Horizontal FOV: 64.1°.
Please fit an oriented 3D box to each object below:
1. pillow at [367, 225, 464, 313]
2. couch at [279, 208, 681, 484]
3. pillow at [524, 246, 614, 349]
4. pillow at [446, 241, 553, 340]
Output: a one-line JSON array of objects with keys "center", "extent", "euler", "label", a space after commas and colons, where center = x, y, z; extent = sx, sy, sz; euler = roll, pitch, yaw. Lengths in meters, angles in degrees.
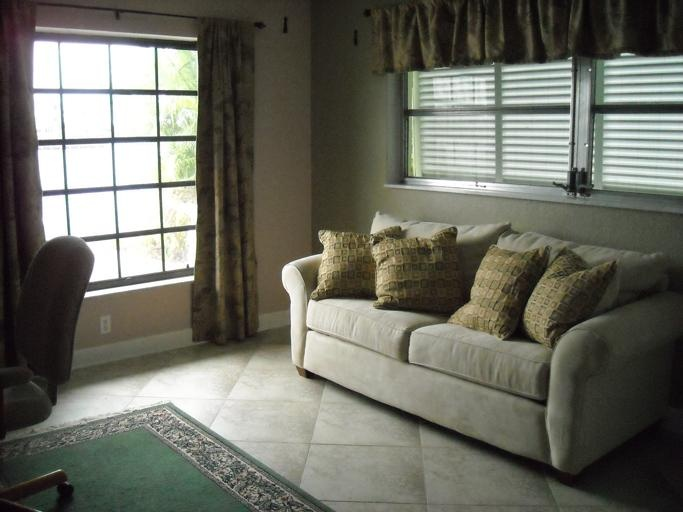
[{"center": [0.495, 0.110, 3.593], "extent": [0.493, 0.531, 0.195], "euler": [-1, -24, 8], "label": "pillow"}, {"center": [0.718, 0.405, 3.522], "extent": [2.506, 1.143, 0.991], "euler": [10, 17, 35], "label": "couch"}, {"center": [1.275, 0.340, 3.101], "extent": [0.391, 0.567, 0.721], "euler": [-8, 6, 7], "label": "pillow"}, {"center": [0.934, 0.171, 3.175], "extent": [0.157, 0.538, 0.516], "euler": [28, -7, -26], "label": "pillow"}]
